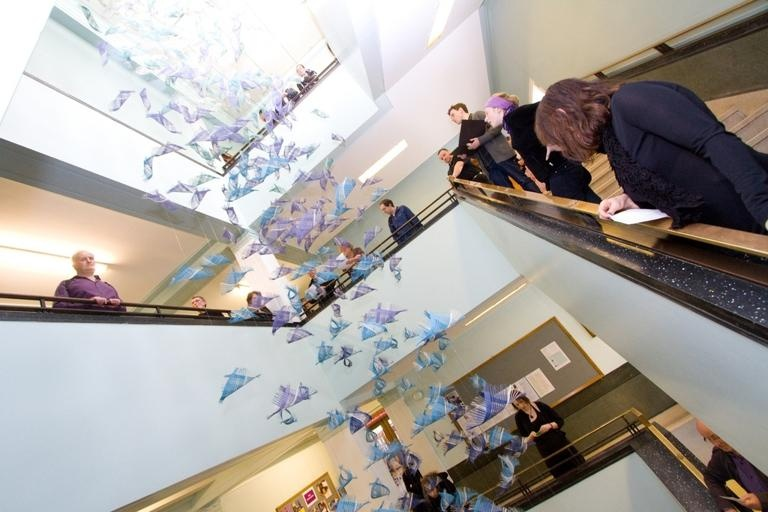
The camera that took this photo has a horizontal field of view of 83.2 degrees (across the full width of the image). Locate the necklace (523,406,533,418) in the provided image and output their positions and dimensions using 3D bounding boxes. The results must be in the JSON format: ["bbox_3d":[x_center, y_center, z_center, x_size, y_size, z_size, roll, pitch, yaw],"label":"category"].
[{"bbox_3d":[1.954,2.072,5.756,0.095,0.129,0.041,-10,-12,11],"label":"necklace"}]

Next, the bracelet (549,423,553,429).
[{"bbox_3d":[2.183,2.193,5.586,0.011,0.038,0.038,12,-2,-22],"label":"bracelet"}]
